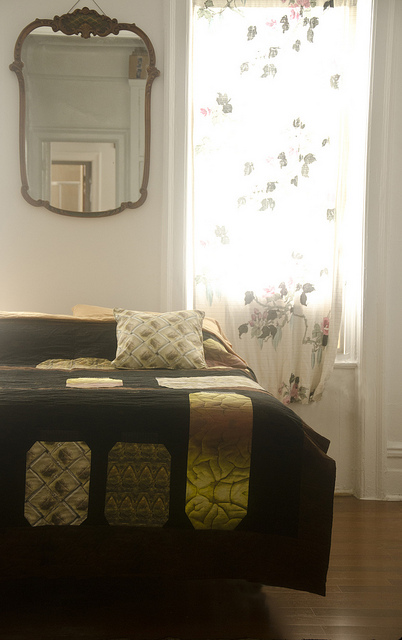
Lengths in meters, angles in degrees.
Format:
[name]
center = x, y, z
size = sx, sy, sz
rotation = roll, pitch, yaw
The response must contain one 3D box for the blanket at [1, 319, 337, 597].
[blanket]
center = -0.115, 0.317, 1.847
size = 0.702, 0.396, 1.030
rotation = 0, 2, -3
